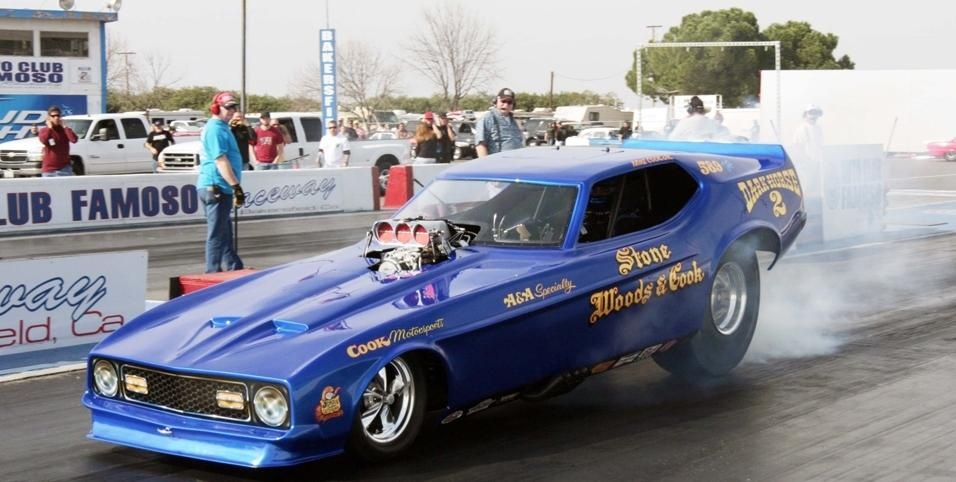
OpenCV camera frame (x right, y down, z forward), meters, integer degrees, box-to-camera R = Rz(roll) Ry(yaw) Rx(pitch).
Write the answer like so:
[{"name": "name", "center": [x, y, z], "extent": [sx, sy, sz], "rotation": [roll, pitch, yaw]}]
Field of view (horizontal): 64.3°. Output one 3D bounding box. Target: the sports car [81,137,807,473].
[{"name": "sports car", "center": [0.192, 0.254, 8.639], "extent": [7.277, 1.967, 3.742], "rotation": [-8, 9, -37]}]

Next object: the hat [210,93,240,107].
[{"name": "hat", "center": [-4.297, -2.364, 12.937], "extent": [0.310, 0.211, 0.472], "rotation": [10, 12, 43]}]

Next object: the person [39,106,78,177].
[{"name": "person", "center": [-10.475, -2.438, 18.742], "extent": [0.663, 1.682, 0.542], "rotation": [-8, 12, -23]}]

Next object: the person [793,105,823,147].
[{"name": "person", "center": [7.169, -2.507, 16.579], "extent": [0.582, 0.870, 0.899], "rotation": [1, 11, 22]}]

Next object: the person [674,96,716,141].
[{"name": "person", "center": [4.219, -2.424, 14.985], "extent": [0.892, 0.820, 1.320], "rotation": [-1, 10, 13]}]

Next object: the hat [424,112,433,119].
[{"name": "hat", "center": [-1.428, -3.560, 21.747], "extent": [0.251, 0.243, 0.760], "rotation": [-4, 9, -5]}]
